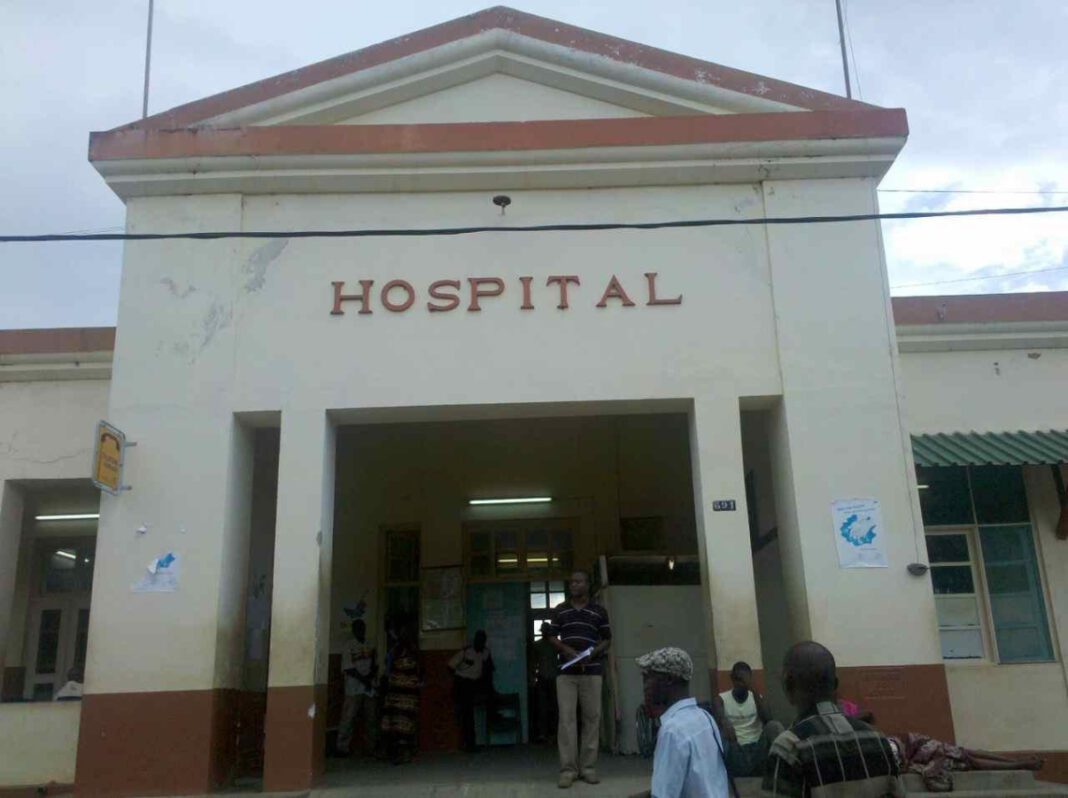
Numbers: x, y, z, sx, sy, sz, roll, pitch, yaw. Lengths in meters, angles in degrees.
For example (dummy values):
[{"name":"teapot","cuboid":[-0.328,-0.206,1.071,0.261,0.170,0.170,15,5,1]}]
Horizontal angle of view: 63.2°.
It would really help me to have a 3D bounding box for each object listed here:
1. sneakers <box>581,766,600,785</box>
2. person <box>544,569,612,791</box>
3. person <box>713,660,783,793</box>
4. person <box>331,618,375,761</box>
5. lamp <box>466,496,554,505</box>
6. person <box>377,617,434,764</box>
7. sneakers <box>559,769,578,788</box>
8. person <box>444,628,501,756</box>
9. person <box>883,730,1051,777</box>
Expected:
[{"name":"sneakers","cuboid":[0.630,4.166,9.565,0.150,0.159,0.211,11,-22,-37]},{"name":"person","cuboid":[0.522,3.158,9.876,0.702,2.295,0.517,-3,-17,0]},{"name":"person","cuboid":[2.253,3.384,8.989,0.644,1.258,0.845,-8,-9,11]},{"name":"person","cuboid":[-2.736,4.398,13.256,0.531,1.954,0.973,2,-18,-15]},{"name":"lamp","cuboid":[-0.491,1.828,15.624,1.557,0.161,0.156,-1,1,-4]},{"name":"person","cuboid":[-1.878,4.166,12.340,0.528,1.827,0.811,4,-18,-20]},{"name":"sneakers","cuboid":[0.364,4.173,9.509,0.165,0.158,0.297,-9,-18,21]},{"name":"person","cuboid":[-0.904,4.610,13.744,0.584,1.713,1.451,-6,-17,10]},{"name":"person","cuboid":[4.562,3.798,9.288,1.395,0.373,0.496,0,-17,-7]}]
